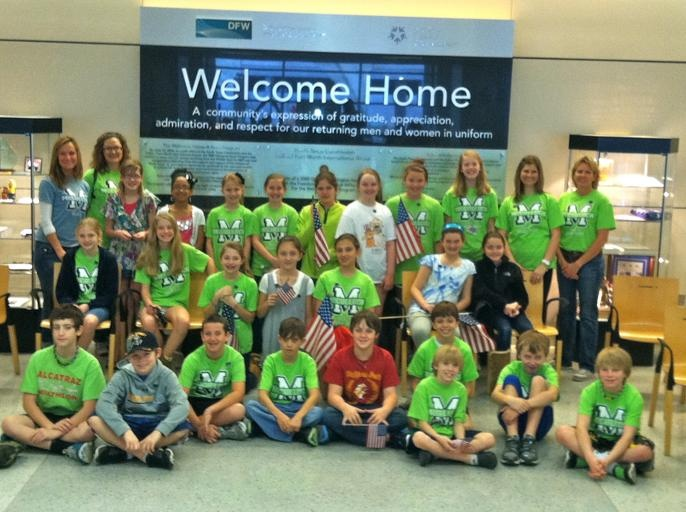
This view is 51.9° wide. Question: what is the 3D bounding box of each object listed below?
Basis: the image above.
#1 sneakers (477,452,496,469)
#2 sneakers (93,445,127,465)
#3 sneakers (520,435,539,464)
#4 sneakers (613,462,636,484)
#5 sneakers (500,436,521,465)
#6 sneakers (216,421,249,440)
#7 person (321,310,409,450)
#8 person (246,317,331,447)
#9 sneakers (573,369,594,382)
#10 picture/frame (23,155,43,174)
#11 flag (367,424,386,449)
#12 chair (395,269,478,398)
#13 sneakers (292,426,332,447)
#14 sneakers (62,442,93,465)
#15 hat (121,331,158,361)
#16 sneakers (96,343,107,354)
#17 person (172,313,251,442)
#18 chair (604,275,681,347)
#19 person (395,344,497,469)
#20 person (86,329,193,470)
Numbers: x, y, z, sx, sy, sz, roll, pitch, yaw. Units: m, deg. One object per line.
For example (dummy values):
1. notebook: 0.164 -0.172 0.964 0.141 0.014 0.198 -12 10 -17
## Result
1. sneakers: 1.117 1.588 5.454 0.183 0.080 0.079 1 5 42
2. sneakers: -1.759 1.507 5.347 0.115 0.095 0.261 -8 -10 30
3. sneakers: 1.465 1.540 5.553 0.092 0.121 0.271 -1 -2 6
4. sneakers: 2.119 1.634 5.312 0.248 0.080 0.163 35 -30 -26
5. sneakers: 1.336 1.543 5.585 0.150 0.173 0.206 3 9 14
6. sneakers: -0.886 1.439 5.805 0.272 0.124 0.110 5 -5 9
7. person: 0.183 1.029 5.812 0.774 1.035 0.801 -4 6 -41
8. person: -0.457 1.026 5.814 0.679 1.004 0.390 0 9 -8
9. sneakers: 2.463 1.232 7.248 0.250 0.105 0.099 1 4 -7
10. picture/frame: -3.374 -1.000 7.628 0.022 0.194 0.230 7 6 39
11. flag: 0.266 1.456 5.712 0.205 0.224 0.038 0 8 -3
12. chair: 0.861 0.773 6.453 0.932 1.372 0.793 -1 -5 2
13. sneakers: -0.232 1.472 5.800 0.358 0.112 0.153 7 19 -13
14. sneakers: -2.036 1.498 5.396 0.251 0.109 0.109 6 14 43
15. hat: -1.562 0.687 5.465 0.231 0.170 0.169 -2 9 -18
16. sneakers: -2.563 0.985 7.470 0.111 0.127 0.116 1 -10 -15
17. person: -1.111 0.994 5.821 0.729 0.952 0.707 2 10 0
18. chair: 3.044 0.486 7.177 0.781 1.010 0.676 2 4 13
19. person: 0.787 1.175 5.769 0.839 1.043 0.858 -2 5 -23
20. person: -1.570 1.111 5.428 0.816 0.955 0.926 -1 4 -44
